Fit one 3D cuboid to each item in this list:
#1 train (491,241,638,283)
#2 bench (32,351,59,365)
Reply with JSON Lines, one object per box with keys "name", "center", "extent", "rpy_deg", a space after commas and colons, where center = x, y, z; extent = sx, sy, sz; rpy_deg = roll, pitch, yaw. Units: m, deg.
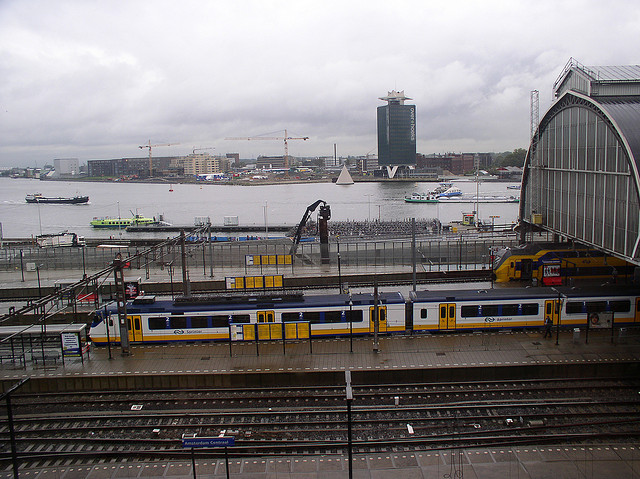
{"name": "train", "center": [17.744, 1.737, 57.993], "extent": [8.639, 2.663, 3.127], "rpy_deg": [0, 10, 30]}
{"name": "bench", "center": [-16.330, 7.271, 47.342], "extent": [1.262, 0.244, 0.778], "rpy_deg": [2, 16, -9]}
